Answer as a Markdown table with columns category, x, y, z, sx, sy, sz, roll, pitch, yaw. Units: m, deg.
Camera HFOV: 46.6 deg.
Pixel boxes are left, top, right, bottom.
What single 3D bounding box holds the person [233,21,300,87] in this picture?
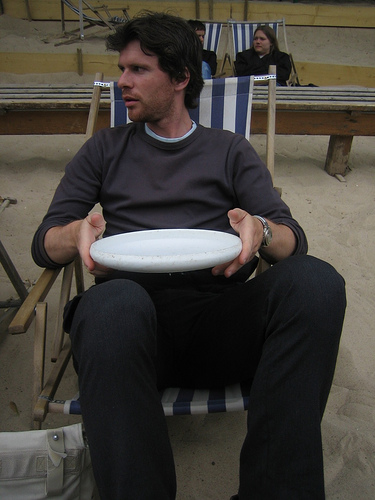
| category | x | y | z | sx | sy | sz | roll | pitch | yaw |
| --- | --- | --- | --- | --- | --- | --- | --- | --- | --- |
| person | 0.848 | -2.140 | 4.898 | 0.742 | 0.690 | 1.099 | 0 | 39 | -1 |

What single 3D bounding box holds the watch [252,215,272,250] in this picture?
| category | x | y | z | sx | sy | sz | roll | pitch | yaw |
| --- | --- | --- | --- | --- | --- | --- | --- | --- | --- |
| watch | 0.201 | -0.051 | 1.208 | 0.055 | 0.082 | 0.078 | 7 | 43 | -10 |

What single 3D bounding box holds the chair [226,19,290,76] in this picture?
| category | x | y | z | sx | sy | sz | roll | pitch | yaw |
| --- | --- | --- | --- | --- | --- | --- | --- | --- | --- |
| chair | 0.908 | -2.697 | 5.930 | 0.732 | 0.632 | 0.978 | 1 | 16 | 4 |

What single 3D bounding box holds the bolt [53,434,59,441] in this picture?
| category | x | y | z | sx | sy | sz | roll | pitch | yaw |
| --- | --- | --- | --- | --- | --- | --- | --- | --- | --- |
| bolt | -0.333 | 0.475 | 1.100 | 0.011 | 0.003 | 0.010 | 4 | 38 | -12 |
